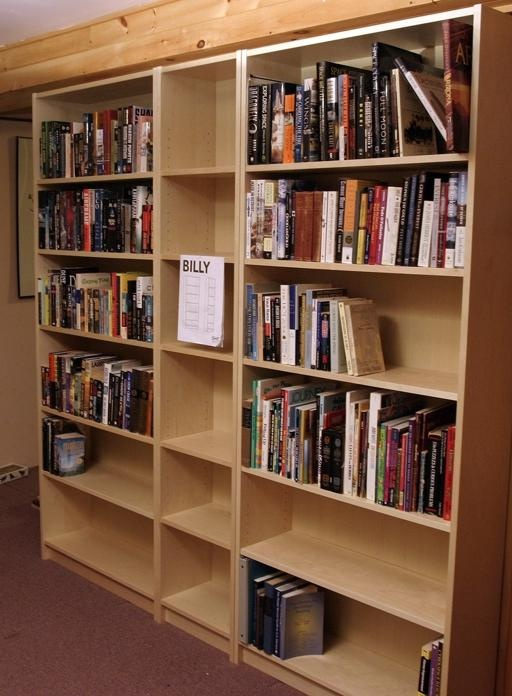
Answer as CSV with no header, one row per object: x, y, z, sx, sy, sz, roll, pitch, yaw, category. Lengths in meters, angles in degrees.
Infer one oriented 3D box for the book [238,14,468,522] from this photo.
0.305,-0.243,1.735,0.337,1.350,0.843,-3,6,-33,book

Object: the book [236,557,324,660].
0.146,0.828,2.181,0.275,0.376,0.373,-1,-5,36,book
